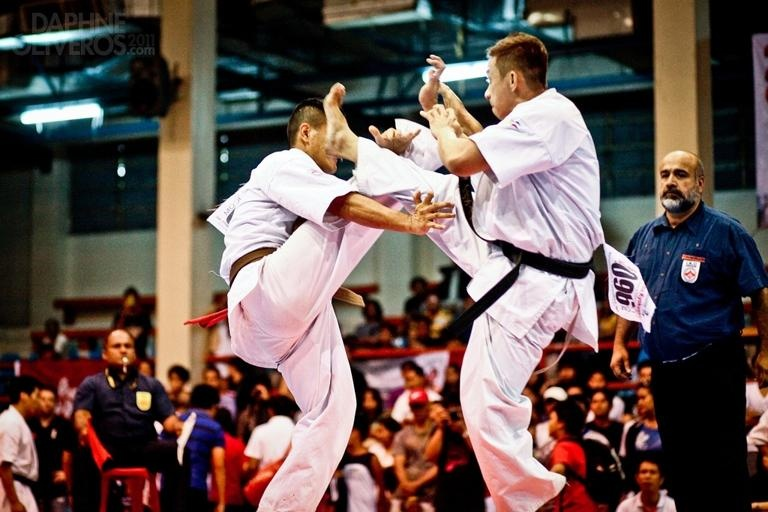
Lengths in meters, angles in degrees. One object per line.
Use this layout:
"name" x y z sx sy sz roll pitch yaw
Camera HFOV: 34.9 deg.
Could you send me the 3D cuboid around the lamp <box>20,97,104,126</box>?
"lamp" -5.571 -2.499 21.308 1.771 0.303 0.172 -6 6 44
